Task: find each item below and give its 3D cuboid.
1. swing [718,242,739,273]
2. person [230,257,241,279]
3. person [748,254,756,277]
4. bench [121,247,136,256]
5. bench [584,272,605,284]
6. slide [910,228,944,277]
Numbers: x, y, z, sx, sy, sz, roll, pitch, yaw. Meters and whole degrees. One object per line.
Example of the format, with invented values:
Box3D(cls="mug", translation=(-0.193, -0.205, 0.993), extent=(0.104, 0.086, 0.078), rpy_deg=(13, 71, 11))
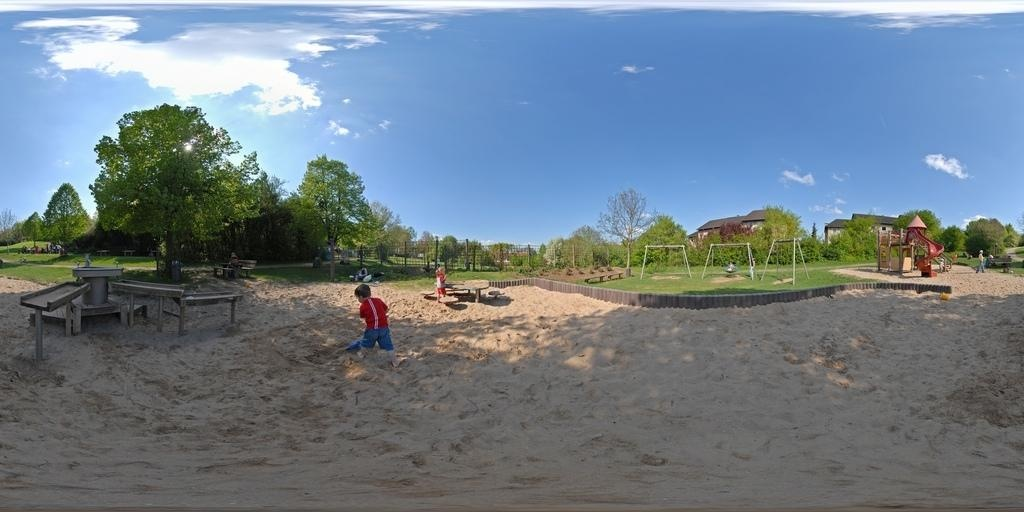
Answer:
Box3D(cls="swing", translation=(13.567, 0.141, 49.020), extent=(1.898, 1.936, 0.962), rpy_deg=(4, 30, 17))
Box3D(cls="person", translation=(-14.770, 0.578, 41.407), extent=(0.555, 1.161, 0.923), rpy_deg=(1, -1, -19))
Box3D(cls="person", translation=(13.930, 0.578, 45.471), extent=(0.461, 1.200, 0.377), rpy_deg=(6, 1, 34))
Box3D(cls="bench", translation=(-27.237, -0.320, 55.105), extent=(0.734, 0.514, 1.515), rpy_deg=(1, -1, -34))
Box3D(cls="bench", translation=(4.457, 1.220, 42.637), extent=(1.141, 0.485, 1.546), rpy_deg=(0, -1, 7))
Box3D(cls="slide", translation=(22.369, -0.245, 42.488), extent=(1.507, 2.652, 2.160), rpy_deg=(0, -1, 35))
